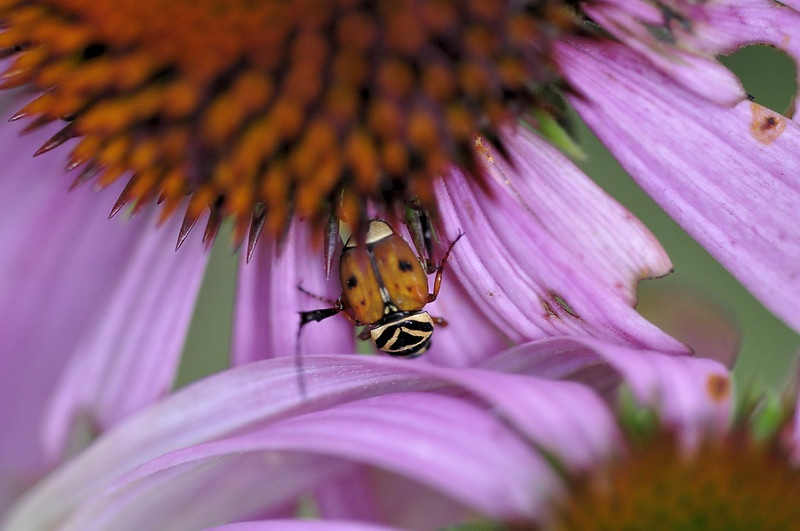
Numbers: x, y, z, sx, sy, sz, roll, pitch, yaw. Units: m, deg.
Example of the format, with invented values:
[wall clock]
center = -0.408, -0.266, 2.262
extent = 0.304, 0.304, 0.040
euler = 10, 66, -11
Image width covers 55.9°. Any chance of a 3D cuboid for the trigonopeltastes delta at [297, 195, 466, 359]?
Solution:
[trigonopeltastes delta]
center = -0.016, 0.026, 0.874
extent = 0.170, 0.057, 0.184
euler = -6, -70, -5
